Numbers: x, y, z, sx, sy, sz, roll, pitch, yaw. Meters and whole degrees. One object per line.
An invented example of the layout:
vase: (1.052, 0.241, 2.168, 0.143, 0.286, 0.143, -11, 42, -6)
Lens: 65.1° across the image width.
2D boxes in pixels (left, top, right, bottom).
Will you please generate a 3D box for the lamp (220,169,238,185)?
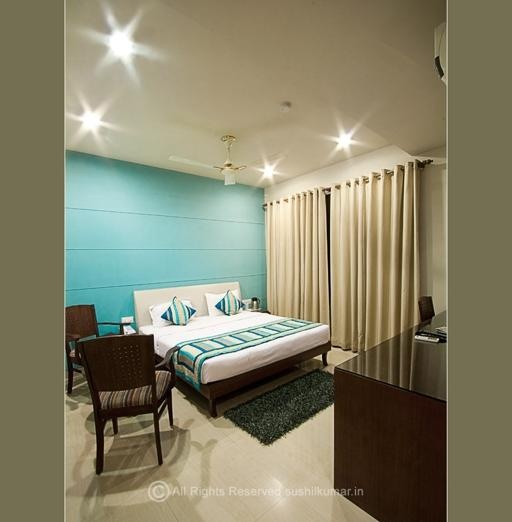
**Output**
lamp: (-0.206, -0.637, 3.033, 0.097, 0.110, 0.247, -1, 2, -9)

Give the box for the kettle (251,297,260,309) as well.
kettle: (-0.003, 0.514, 4.802, 0.082, 0.156, 0.140, 1, -5, -13)

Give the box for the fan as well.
fan: (-0.207, -0.895, 3.563, 0.508, 0.194, 0.472, -2, 5, -30)
